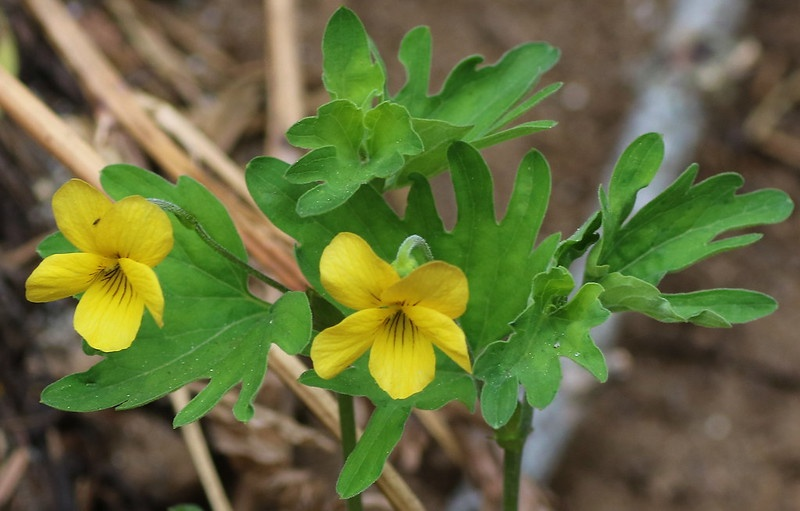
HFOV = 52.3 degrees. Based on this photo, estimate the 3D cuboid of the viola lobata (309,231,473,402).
[{"bbox_3d":[0.006,0.091,1.410,0.292,0.333,0.102,11,40,-3],"label":"viola lobata"}]
